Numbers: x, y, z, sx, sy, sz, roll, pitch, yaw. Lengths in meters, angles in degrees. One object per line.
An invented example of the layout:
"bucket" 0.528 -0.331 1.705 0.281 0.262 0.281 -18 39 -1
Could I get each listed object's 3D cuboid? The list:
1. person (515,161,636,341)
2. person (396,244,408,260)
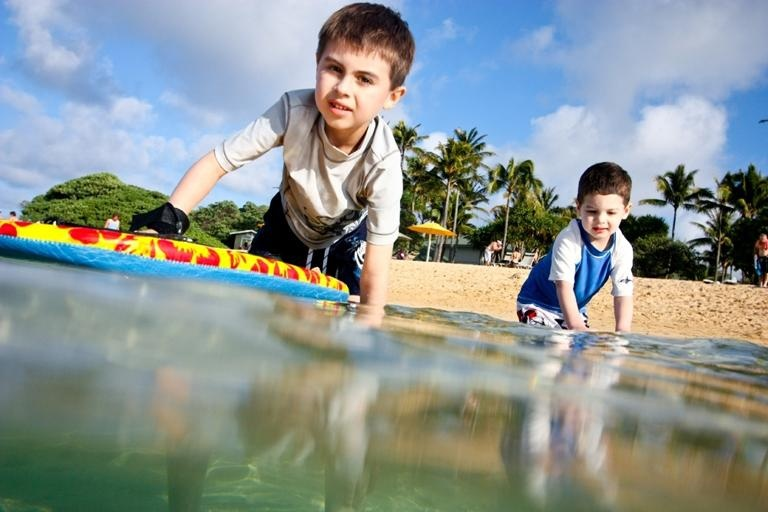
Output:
"person" 1.935 -0.092 4.196 1.071 1.750 0.892 7 2 17
"person" 1.377 -0.401 34.792 0.971 1.293 2.957 1 -6 8
